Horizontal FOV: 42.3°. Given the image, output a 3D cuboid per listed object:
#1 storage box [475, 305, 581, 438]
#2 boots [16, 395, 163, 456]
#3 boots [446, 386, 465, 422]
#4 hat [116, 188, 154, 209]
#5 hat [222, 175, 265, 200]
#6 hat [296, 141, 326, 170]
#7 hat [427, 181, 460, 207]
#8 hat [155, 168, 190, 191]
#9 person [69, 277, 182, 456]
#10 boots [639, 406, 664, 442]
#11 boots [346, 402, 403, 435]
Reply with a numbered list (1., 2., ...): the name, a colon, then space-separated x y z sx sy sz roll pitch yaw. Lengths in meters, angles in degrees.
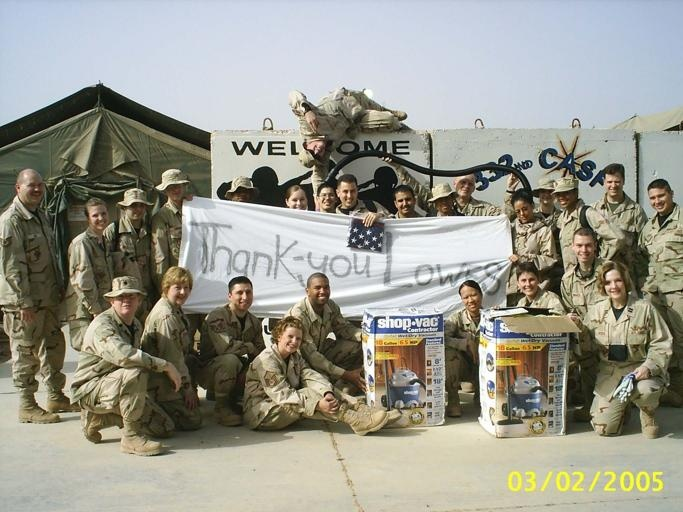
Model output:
1. storage box: 1.680 1.278 9.914 1.365 1.600 1.191 0 -4 -4
2. boots: -2.688 1.829 9.446 1.320 0.528 0.342 10 -6 11
3. boots: 1.284 1.679 10.251 0.184 0.333 0.322 1 13 6
4. hat: -3.045 -0.837 12.755 0.747 0.325 0.816 -1 3 -17
5. hat: -1.394 -0.900 12.221 0.351 0.199 0.406 -2 -24 -4
6. hat: -0.444 -1.411 12.273 0.289 0.279 0.364 28 -19 -11
7. hat: 1.311 -0.835 11.971 0.279 0.143 0.309 -11 -7 -23
8. hat: -2.194 -0.978 11.385 0.389 0.206 0.394 -13 14 -10
9. person: -2.330 1.137 9.342 1.069 1.757 0.709 6 15 25
10. boots: 3.302 1.779 9.482 0.216 0.294 0.204 3 14 17
11. boots: 0.400 1.716 9.647 0.670 0.309 0.261 -16 18 11
